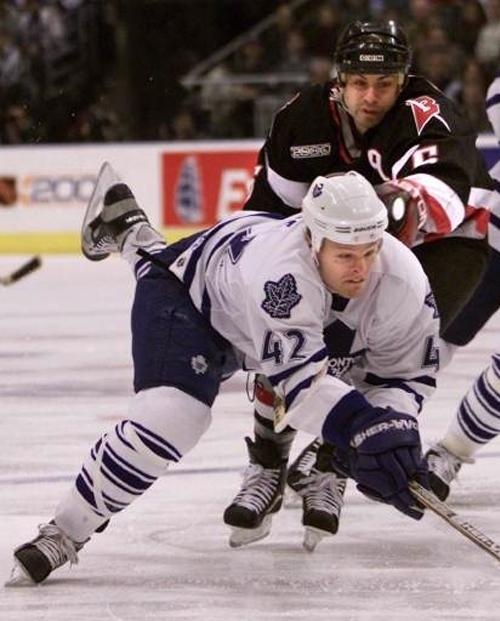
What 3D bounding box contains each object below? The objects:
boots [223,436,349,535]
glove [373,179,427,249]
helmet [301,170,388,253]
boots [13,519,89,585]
[{"bbox_3d":[0.110,0.478,2.274,0.236,0.152,0.338,2,1,0],"label":"boots"},{"bbox_3d":[0.398,-0.247,2.115,0.148,0.151,0.171,-10,-16,31],"label":"glove"},{"bbox_3d":[0.184,-0.228,1.798,0.176,0.155,0.204,-16,32,-20],"label":"helmet"},{"bbox_3d":[-0.493,0.564,1.897,0.165,0.083,0.116,-25,41,-31],"label":"boots"}]
